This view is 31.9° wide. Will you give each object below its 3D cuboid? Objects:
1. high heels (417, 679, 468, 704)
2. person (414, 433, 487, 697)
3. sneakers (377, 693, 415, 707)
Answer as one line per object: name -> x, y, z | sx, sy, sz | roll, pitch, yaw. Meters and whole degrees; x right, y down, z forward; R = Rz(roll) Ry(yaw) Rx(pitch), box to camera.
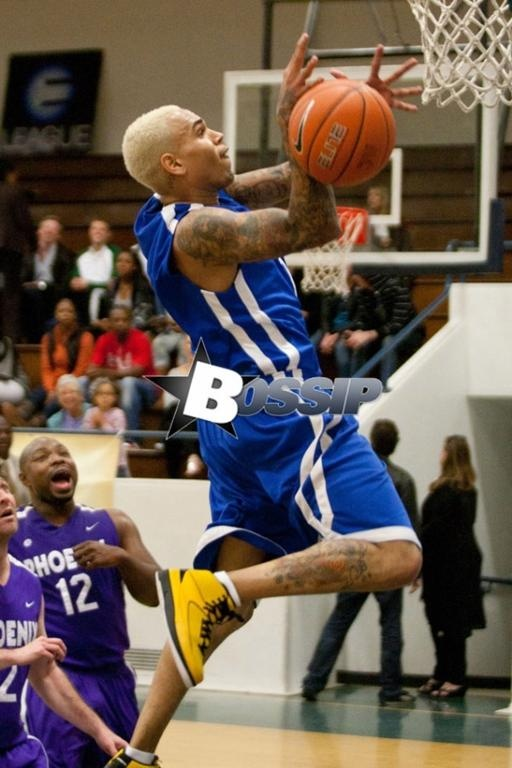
high heels -> 1.110, 1.840, 5.350 | 0.329, 0.119, 0.104 | 4, -9, 17
person -> 1.181, 1.106, 5.392 | 0.403, 1.403, 0.345 | 2, 1, 10
sneakers -> 0.780, 1.780, 5.020 | 0.210, 0.074, 0.071 | -1, -5, 5
